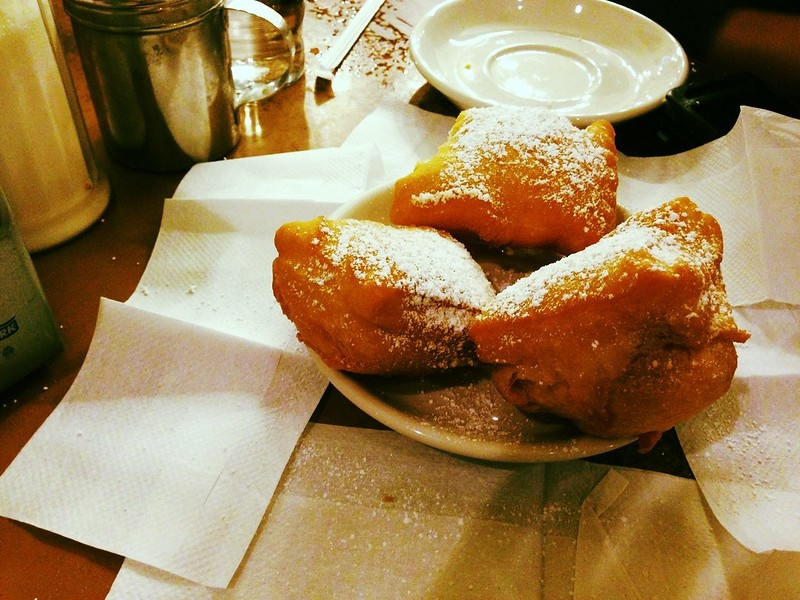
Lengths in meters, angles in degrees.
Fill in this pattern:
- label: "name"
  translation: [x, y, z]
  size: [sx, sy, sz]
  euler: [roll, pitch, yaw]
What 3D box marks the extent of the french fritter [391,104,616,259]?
- label: "french fritter"
  translation: [0.140, -0.146, 0.962]
  size: [0.202, 0.068, 0.197]
  euler: [18, 70, 10]
